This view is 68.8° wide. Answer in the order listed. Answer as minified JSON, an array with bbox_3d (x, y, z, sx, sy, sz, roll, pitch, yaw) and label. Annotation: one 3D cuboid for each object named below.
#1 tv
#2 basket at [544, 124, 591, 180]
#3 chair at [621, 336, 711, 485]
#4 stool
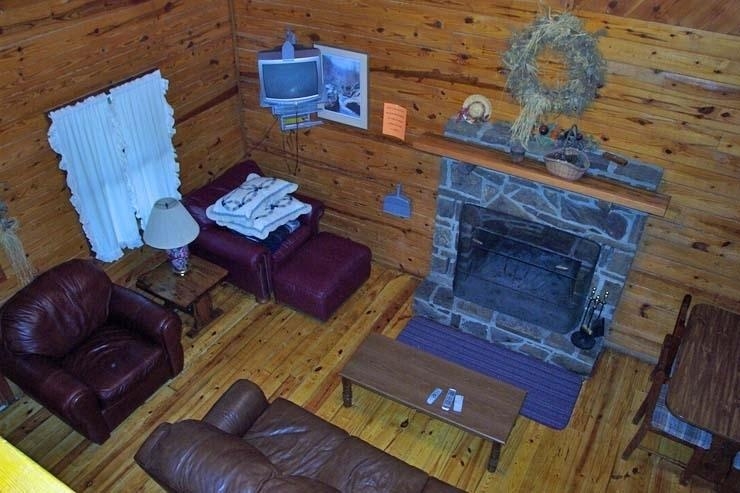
[{"bbox_3d":[-0.761,-1.583,5.186,0.605,0.602,0.336,0,37,-9],"label":"tv"},{"bbox_3d":[1.961,-0.920,5.305,0.425,0.408,0.464,20,38,17],"label":"basket"},{"bbox_3d":[2.719,1.570,4.966,0.695,1.185,0.618,23,73,25],"label":"chair"},{"bbox_3d":[-0.556,0.329,6.302,0.898,0.565,1.181,27,51,23],"label":"stool"}]
